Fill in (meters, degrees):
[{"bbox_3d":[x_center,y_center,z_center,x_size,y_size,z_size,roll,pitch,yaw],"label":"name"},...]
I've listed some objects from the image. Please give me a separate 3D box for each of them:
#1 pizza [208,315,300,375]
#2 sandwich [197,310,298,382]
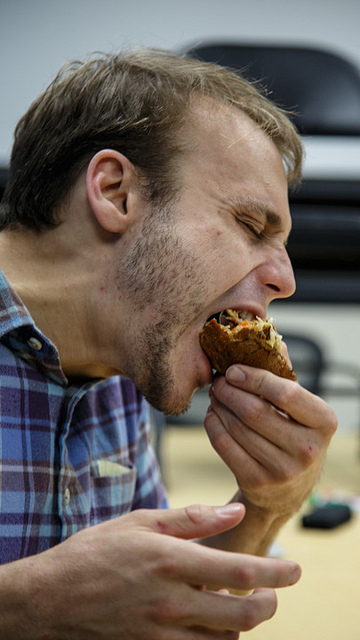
[{"bbox_3d":[0.099,0.035,1.254,0.116,0.054,0.127,-15,32,-3],"label":"pizza"},{"bbox_3d":[0.106,0.038,1.234,0.120,0.120,0.052,27,85,26],"label":"sandwich"}]
